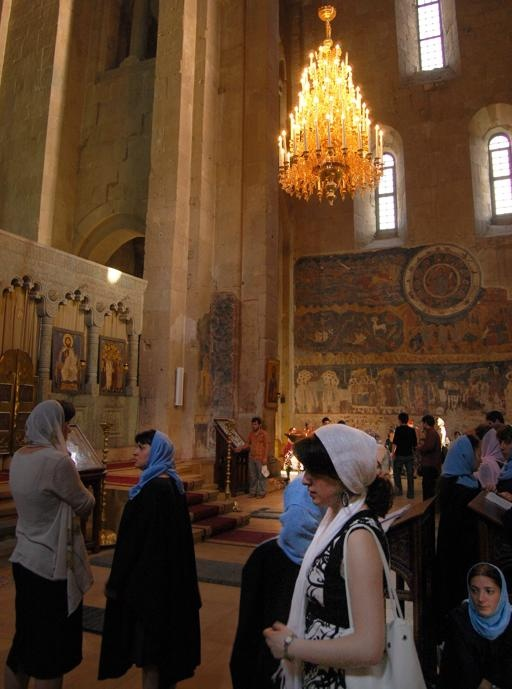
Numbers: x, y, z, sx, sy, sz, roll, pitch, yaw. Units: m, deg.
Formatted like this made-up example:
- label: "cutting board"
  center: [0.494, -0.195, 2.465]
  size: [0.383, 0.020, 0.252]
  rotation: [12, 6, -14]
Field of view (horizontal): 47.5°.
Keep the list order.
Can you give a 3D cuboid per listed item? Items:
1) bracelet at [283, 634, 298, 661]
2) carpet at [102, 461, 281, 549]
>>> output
- label: "bracelet"
  center: [0.081, 0.743, 1.441]
  size: [0.038, 0.071, 0.071]
  rotation: [5, -44, 6]
- label: "carpet"
  center: [-1.241, 2.434, 8.186]
  size: [0.505, 0.993, 1.727]
  rotation: [-3, -19, -43]
